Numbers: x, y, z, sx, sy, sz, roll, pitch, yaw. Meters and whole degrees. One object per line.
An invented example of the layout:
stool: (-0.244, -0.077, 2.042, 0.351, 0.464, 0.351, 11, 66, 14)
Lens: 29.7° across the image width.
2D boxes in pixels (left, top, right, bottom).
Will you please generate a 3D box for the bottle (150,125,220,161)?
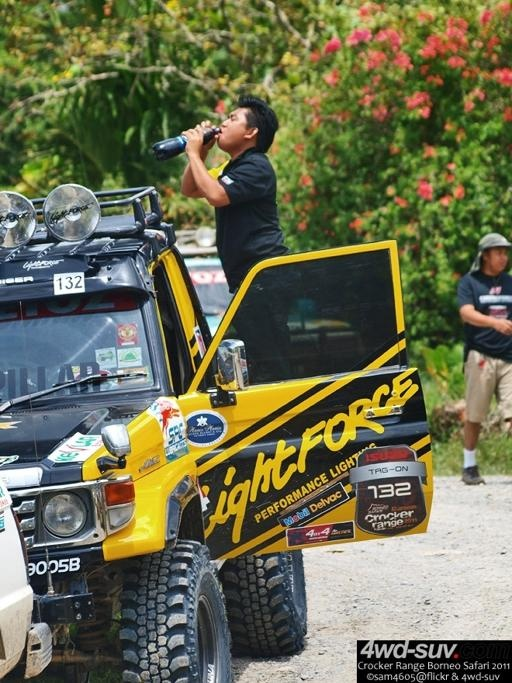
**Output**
bottle: (-0.405, -1.005, 4.894, 0.505, 0.121, 0.133, -13, 7, -26)
